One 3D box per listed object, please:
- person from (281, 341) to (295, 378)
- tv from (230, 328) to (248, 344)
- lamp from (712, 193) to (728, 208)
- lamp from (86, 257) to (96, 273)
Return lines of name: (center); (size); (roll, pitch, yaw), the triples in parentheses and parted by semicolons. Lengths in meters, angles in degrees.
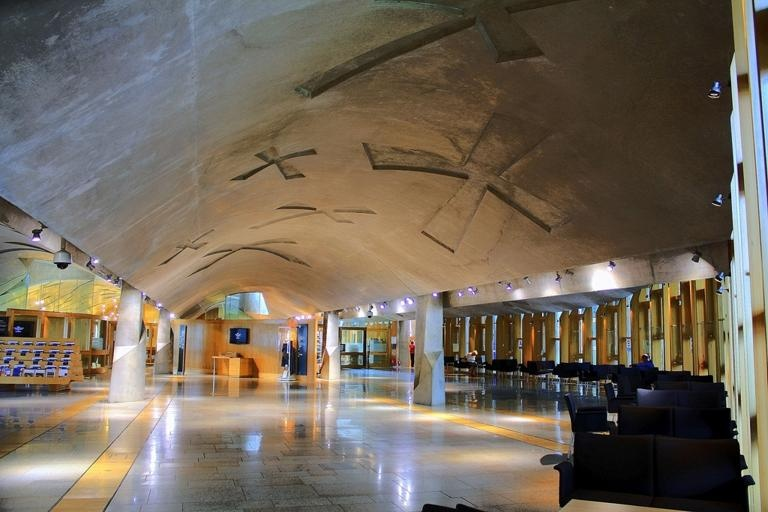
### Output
person: (-5.815, 6.327, 30.890); (0.753, 2.267, 1.320); (7, -15, -19)
tv: (-10.247, 5.686, 35.819); (1.904, 1.247, 0.430); (-11, -19, 40)
lamp: (6.337, -1.054, 9.465); (0.216, 0.181, 0.413); (-3, -14, 18)
lamp: (-7.409, 0.198, 12.715); (0.356, 0.431, 0.174); (6, 12, 31)
